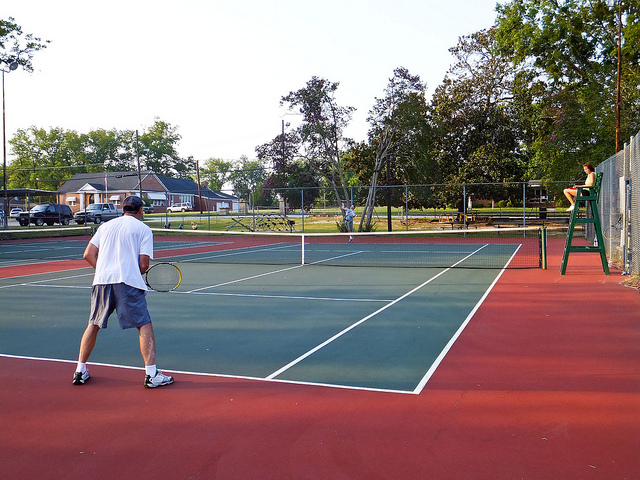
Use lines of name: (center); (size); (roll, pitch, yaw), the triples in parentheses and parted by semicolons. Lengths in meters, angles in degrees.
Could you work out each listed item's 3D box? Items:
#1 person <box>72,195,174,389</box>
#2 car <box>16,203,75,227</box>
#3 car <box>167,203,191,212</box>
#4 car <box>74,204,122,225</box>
person: (-2.433, 0.625, 7.653); (1.220, 2.312, 0.973); (6, 14, 28)
car: (-19.406, -1.765, 45.021); (1.952, 1.645, 3.694); (-3, -6, 26)
car: (-17.942, -4.103, 79.274); (2.221, 0.891, 1.309); (4, 3, 9)
car: (-17.205, -2.043, 47.704); (1.611, 1.265, 3.699); (-1, -1, 16)
